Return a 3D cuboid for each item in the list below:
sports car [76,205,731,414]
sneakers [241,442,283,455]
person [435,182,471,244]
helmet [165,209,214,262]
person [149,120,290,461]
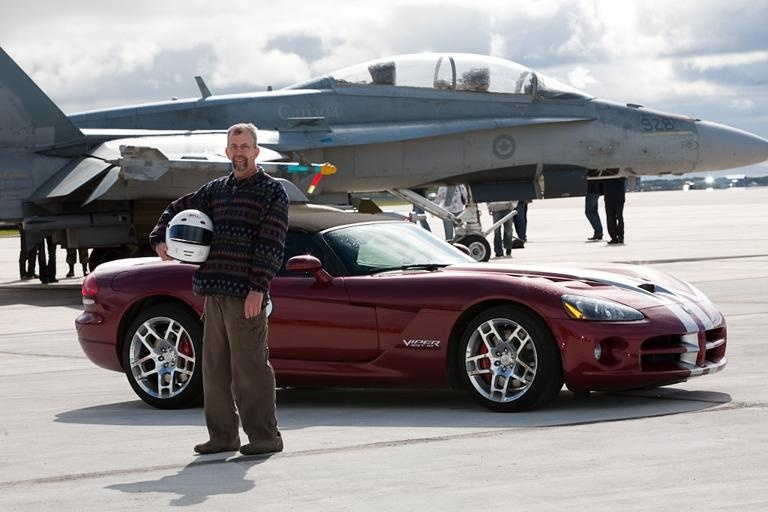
[{"bbox_3d":[0.088,0.602,7.261,4.989,1.160,2.289,-2,1,11],"label":"sports car"},{"bbox_3d":[-0.863,1.353,5.535,0.288,0.089,0.101,1,-2,-12],"label":"sneakers"},{"bbox_3d":[1.976,-1.301,21.905,0.868,1.707,0.510,6,45,13],"label":"person"},{"bbox_3d":[-1.407,-0.176,5.843,0.426,0.344,0.468,7,16,-4],"label":"helmet"},{"bbox_3d":[-1.162,0.229,5.715,0.909,2.441,0.448,-2,0,32],"label":"person"}]
